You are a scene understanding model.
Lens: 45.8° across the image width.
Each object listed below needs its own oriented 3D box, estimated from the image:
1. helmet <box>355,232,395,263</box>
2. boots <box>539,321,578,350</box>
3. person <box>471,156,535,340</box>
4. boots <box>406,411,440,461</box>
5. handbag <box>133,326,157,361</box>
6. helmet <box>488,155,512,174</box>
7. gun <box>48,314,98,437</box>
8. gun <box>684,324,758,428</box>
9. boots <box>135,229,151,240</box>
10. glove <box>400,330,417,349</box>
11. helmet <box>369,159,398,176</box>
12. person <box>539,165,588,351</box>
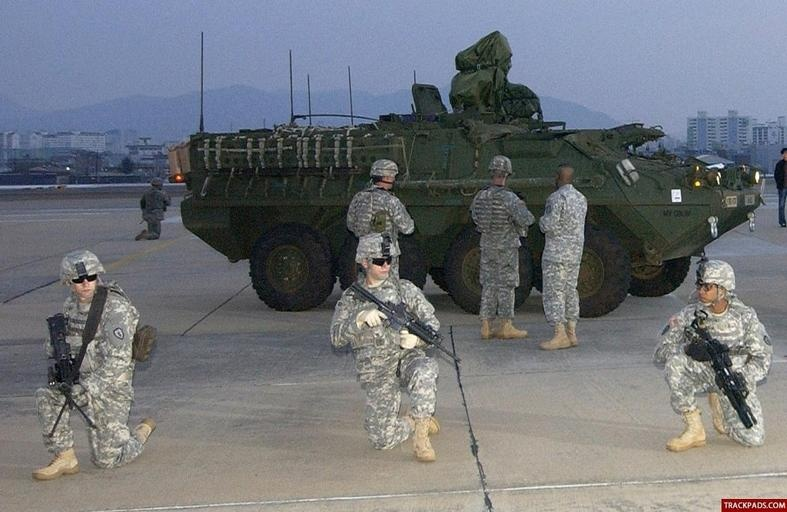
[{"bbox_3d":[-0.201,-0.077,8.637,0.282,0.193,0.276,-3,0,-27],"label":"helmet"},{"bbox_3d":[2.046,1.000,11.685,0.598,0.439,0.235,-3,7,-11],"label":"boots"},{"bbox_3d":[1.397,0.096,12.082,0.740,1.982,0.395,0,12,8],"label":"person"},{"bbox_3d":[0.267,1.646,8.792,0.274,0.434,0.522,-2,12,0],"label":"boots"},{"bbox_3d":[-2.370,0.800,8.812,0.204,0.343,0.366,14,6,-9],"label":"handbag"},{"bbox_3d":[1.401,-1.172,12.063,0.230,0.239,0.308,10,15,40],"label":"helmet"},{"bbox_3d":[-2.949,1.073,8.519,0.442,1.064,0.415,-5,-4,5],"label":"gun"},{"bbox_3d":[3.047,1.086,8.632,0.146,1.077,0.418,-4,-30,-38],"label":"gun"},{"bbox_3d":[-6.655,-0.576,24.623,0.538,0.282,0.178,-8,47,-38],"label":"boots"},{"bbox_3d":[0.127,0.753,8.479,0.179,0.181,0.113,-5,35,-3],"label":"glove"},{"bbox_3d":[-0.129,-1.073,11.208,0.280,0.233,0.228,-5,10,3],"label":"helmet"},{"bbox_3d":[2.098,0.153,11.508,0.603,1.995,0.357,-3,11,-5],"label":"person"}]
